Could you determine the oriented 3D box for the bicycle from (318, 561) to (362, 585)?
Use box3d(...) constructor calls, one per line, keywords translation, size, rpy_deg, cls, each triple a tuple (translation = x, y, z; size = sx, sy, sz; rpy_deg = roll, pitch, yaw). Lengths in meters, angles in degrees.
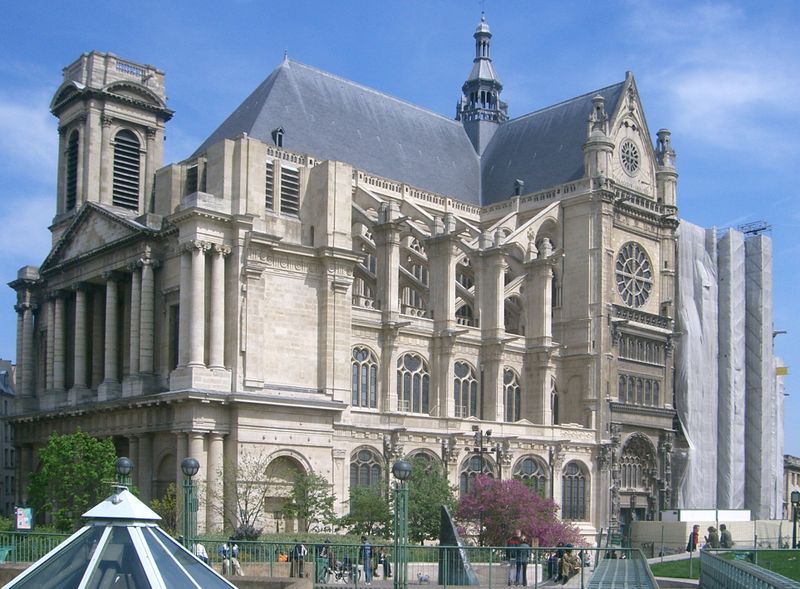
box3d(translation=(-3.336, 16.035, 103.900), size=(2.646, 1.523, 1.246), rpy_deg=(6, -36, -9), cls="bicycle")
